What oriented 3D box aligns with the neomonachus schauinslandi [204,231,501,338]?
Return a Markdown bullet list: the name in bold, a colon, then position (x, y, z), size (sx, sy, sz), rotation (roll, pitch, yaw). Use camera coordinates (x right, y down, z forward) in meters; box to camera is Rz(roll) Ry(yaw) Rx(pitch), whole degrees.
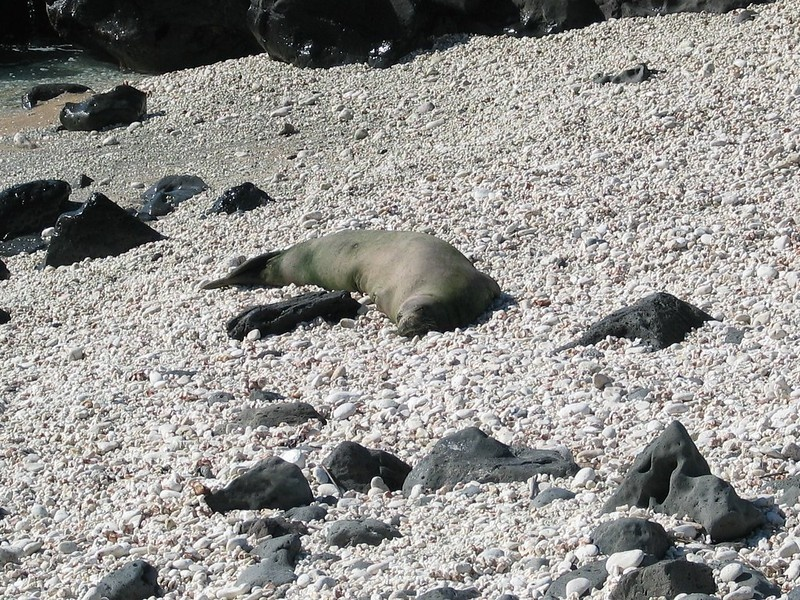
- **neomonachus schauinslandi**: position (-0.214, -0.144, 13.082), size (1.726, 0.595, 0.774), rotation (9, 37, 44)
